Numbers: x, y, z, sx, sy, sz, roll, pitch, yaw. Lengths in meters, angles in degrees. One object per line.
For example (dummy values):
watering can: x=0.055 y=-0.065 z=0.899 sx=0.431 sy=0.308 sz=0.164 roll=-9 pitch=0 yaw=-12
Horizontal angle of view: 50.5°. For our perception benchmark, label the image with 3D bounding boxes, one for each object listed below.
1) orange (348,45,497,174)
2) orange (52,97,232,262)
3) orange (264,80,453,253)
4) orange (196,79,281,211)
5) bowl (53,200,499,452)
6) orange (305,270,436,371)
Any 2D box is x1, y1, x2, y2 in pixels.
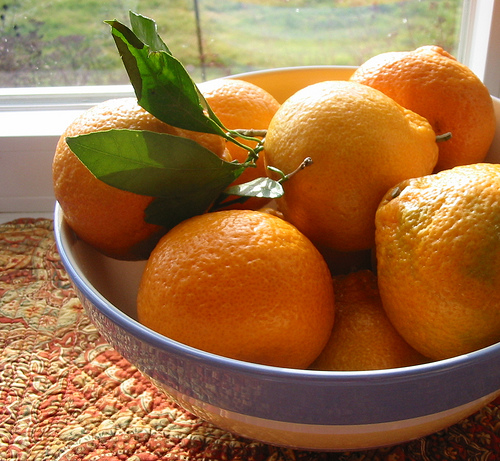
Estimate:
orange: x=0.151 y=-0.107 z=0.505 sx=0.148 sy=0.105 sz=0.115 roll=2 pitch=18 yaw=10
orange: x=-0.084 y=-0.046 z=0.461 sx=0.147 sy=0.140 sz=0.137 roll=2 pitch=2 yaw=-22
orange: x=0.077 y=-0.071 z=0.440 sx=0.151 sy=0.120 sz=0.125 roll=9 pitch=2 yaw=3
orange: x=-0.008 y=-0.077 z=0.508 sx=0.125 sy=0.120 sz=0.113 roll=-1 pitch=1 yaw=5
bowl: x=0.001 y=0.063 z=0.354 sx=0.231 sy=0.079 sz=0.226 roll=2 pitch=26 yaw=-1
orange: x=0.082 y=0.073 z=0.430 sx=0.088 sy=0.089 sz=0.079 roll=21 pitch=-12 yaw=21
